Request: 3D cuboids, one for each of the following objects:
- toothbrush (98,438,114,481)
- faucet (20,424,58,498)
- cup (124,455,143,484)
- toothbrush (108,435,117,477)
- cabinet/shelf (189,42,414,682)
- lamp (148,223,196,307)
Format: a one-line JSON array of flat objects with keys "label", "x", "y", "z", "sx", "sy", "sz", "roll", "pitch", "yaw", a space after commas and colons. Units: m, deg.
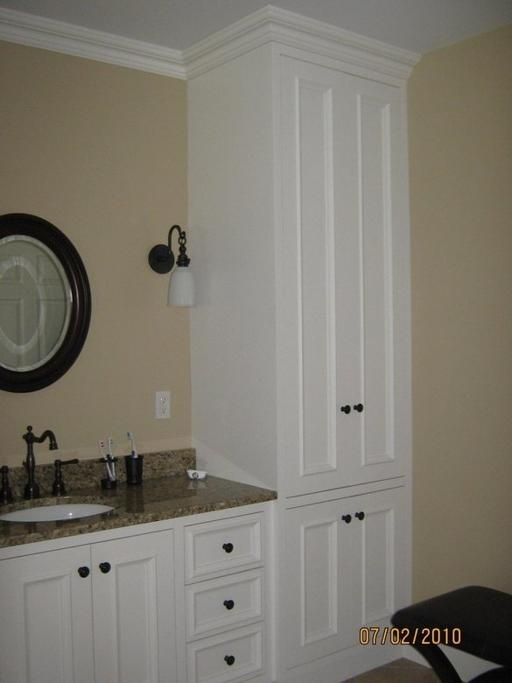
[{"label": "toothbrush", "x": -0.562, "y": 0.450, "z": 2.560, "sx": 0.049, "sy": 0.178, "sz": 0.028, "roll": -5, "pitch": -14, "yaw": -30}, {"label": "faucet", "x": -0.748, "y": 0.415, "z": 2.342, "sx": 0.111, "sy": 0.247, "sz": 0.300, "roll": 3, "pitch": -2, "yaw": -18}, {"label": "cup", "x": -0.464, "y": 0.485, "z": 2.586, "sx": 0.088, "sy": 0.141, "sz": 0.090, "roll": 1, "pitch": 1, "yaw": 0}, {"label": "toothbrush", "x": -0.545, "y": 0.429, "z": 2.574, "sx": 0.032, "sy": 0.169, "sz": 0.053, "roll": 3, "pitch": -15, "yaw": -29}, {"label": "cabinet/shelf", "x": 0.209, "y": 0.080, "z": 2.648, "sx": 0.966, "sy": 2.384, "sz": 0.524, "roll": 3, "pitch": -2, "yaw": -11}, {"label": "lamp", "x": -0.311, "y": -0.311, "z": 2.748, "sx": 0.181, "sy": 0.350, "sz": 0.231, "roll": 4, "pitch": -3, "yaw": -36}]
